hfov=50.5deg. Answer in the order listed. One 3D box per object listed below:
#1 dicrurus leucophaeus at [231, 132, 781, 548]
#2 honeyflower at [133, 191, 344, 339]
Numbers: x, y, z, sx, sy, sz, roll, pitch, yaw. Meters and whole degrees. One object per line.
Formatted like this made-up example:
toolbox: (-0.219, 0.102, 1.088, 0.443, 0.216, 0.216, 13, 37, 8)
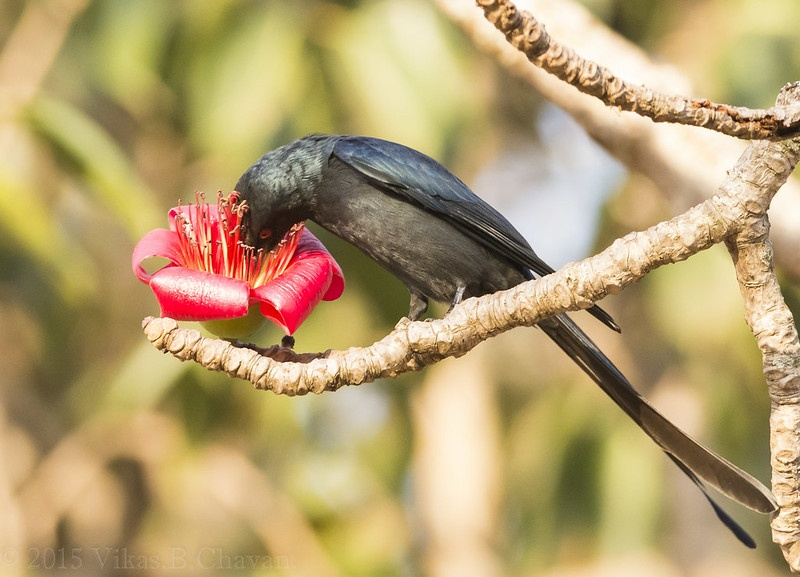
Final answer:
dicrurus leucophaeus: (0.293, -0.093, 3.337, 1.946, 0.555, 0.690, 29, 75, -1)
honeyflower: (-0.584, -0.069, 3.055, 0.625, 0.511, 0.611, -3, 94, -32)
